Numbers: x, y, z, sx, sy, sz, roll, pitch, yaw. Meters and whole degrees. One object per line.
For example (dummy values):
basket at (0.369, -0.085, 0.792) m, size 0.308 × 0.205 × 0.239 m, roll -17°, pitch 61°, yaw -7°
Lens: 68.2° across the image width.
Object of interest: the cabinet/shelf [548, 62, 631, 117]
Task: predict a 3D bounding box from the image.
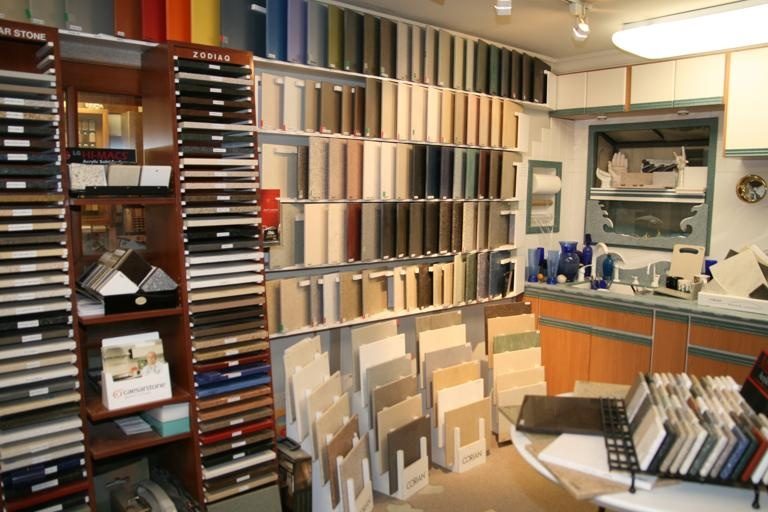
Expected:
cabinet/shelf at (2.090, -1.684, 5.683) m, size 0.201 × 0.344 × 0.615 m, roll -4°, pitch 7°, yaw -40°

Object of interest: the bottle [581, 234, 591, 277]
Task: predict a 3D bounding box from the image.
bottle at (2.173, -0.021, 6.065) m, size 0.117 × 0.443 × 0.305 m, roll 1°, pitch 8°, yaw 21°

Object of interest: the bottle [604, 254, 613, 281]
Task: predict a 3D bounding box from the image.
bottle at (2.250, 0.112, 5.679) m, size 0.091 × 0.243 × 0.169 m, roll 2°, pitch 9°, yaw 25°

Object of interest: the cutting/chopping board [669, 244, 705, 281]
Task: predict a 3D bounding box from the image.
cutting/chopping board at (2.797, 0.079, 5.218) m, size 0.020 × 0.352 × 0.276 m, roll 1°, pitch 6°, yaw -35°
